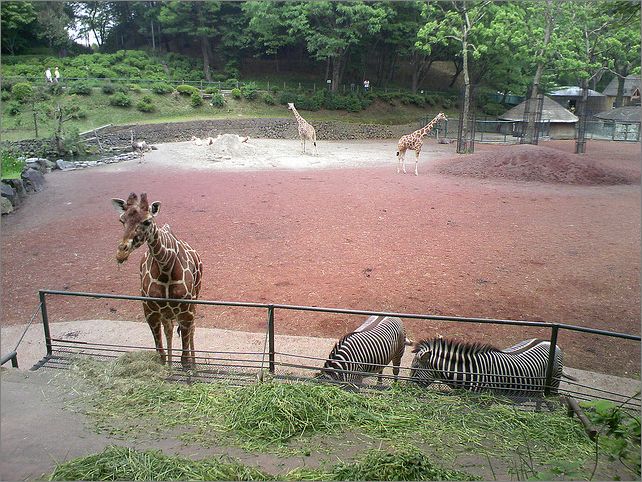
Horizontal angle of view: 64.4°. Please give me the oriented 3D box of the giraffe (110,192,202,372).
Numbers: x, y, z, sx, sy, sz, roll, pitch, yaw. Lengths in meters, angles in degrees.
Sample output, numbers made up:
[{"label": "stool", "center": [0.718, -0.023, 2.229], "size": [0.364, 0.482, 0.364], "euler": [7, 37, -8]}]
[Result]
[{"label": "giraffe", "center": [-2.265, 0.650, 7.275], "size": [1.071, 2.691, 1.553], "euler": [-4, 15, -13]}]

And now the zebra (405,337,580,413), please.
[{"label": "zebra", "center": [2.146, 1.864, 6.683], "size": [2.506, 1.155, 0.668], "euler": [0, -5, -18]}]
